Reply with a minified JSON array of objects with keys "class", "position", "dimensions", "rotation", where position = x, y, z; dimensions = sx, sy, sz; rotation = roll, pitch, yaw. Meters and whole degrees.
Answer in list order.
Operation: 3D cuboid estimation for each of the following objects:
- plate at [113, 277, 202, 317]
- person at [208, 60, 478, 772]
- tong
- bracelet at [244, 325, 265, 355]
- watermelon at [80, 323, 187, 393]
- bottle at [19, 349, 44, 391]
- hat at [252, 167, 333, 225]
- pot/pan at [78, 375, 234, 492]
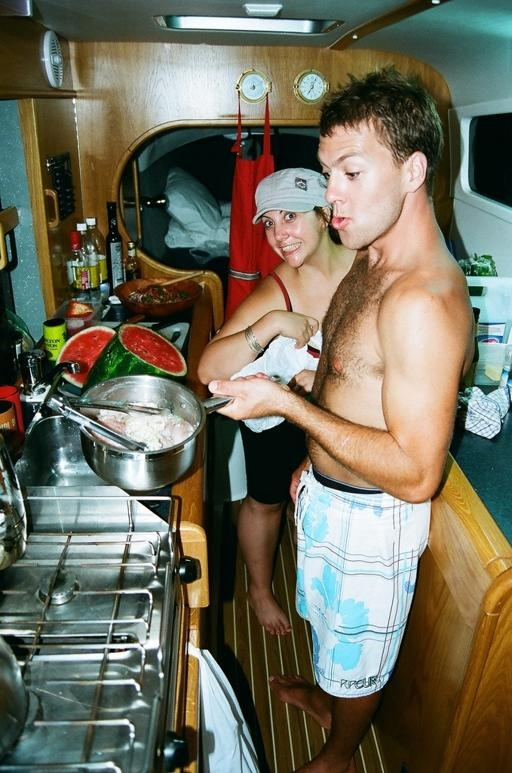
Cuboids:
[{"class":"plate","position":[-0.429,-0.392,2.454],"dimensions":[0.376,0.106,0.498],"rotation":[-2,20,-7]},{"class":"person","position":[0.240,0.280,1.361],"dimensions":[0.451,1.856,0.511],"rotation":[10,22,27]},{"class":"tong","position":[-0.287,0.041,0.993],"dimensions":[0.173,0.118,0.103],"rotation":[12,34,-26]},{"class":"bracelet","position":[-0.013,-0.150,1.835],"dimensions":[0.026,0.075,0.067],"rotation":[-25,51,-4]},{"class":"watermelon","position":[-0.366,-0.089,1.681],"dimensions":[0.384,0.172,0.293],"rotation":[-12,-4,-12]},{"class":"bottle","position":[-0.606,-0.044,1.508],"dimensions":[0.063,0.109,0.066],"rotation":[2,35,-2]},{"class":"hat","position":[0.152,-0.620,1.963],"dimensions":[0.251,0.177,0.350],"rotation":[1,18,26]},{"class":"pot/pan","position":[-0.196,0.102,1.078],"dimensions":[0.188,0.123,0.200],"rotation":[-3,42,-2]}]
